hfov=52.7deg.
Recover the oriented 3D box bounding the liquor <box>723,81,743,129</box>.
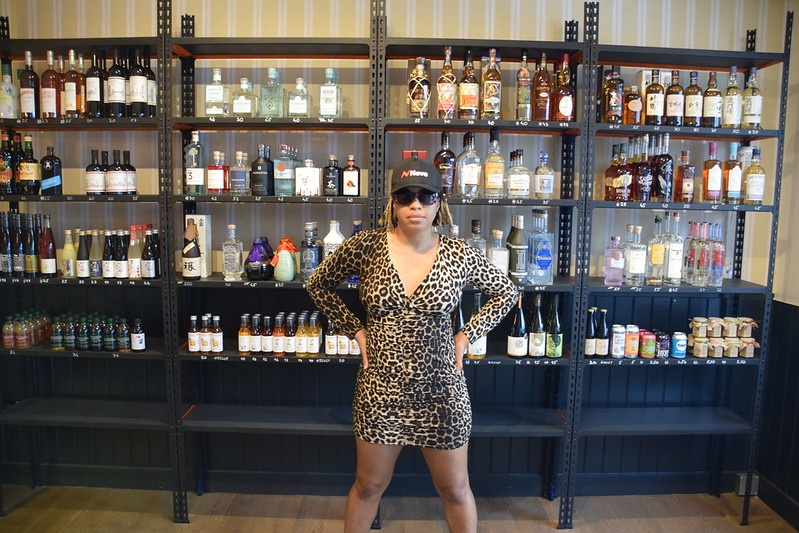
[{"bbox_3d":[2.110,-1.028,5.135,0.095,0.284,0.084,4,9,33],"label":"liquor"}]

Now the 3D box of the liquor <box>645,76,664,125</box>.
[{"bbox_3d":[1.622,-1.078,5.119,0.118,0.338,0.082,0,7,5],"label":"liquor"}]

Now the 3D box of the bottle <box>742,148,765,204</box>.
[{"bbox_3d":[2.286,-0.584,5.199,0.109,0.360,0.124,0,7,7],"label":"bottle"}]

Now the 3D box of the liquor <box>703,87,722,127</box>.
[{"bbox_3d":[1.979,-1.013,5.119,0.103,0.248,0.058,3,8,21],"label":"liquor"}]

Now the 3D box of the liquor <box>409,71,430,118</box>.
[{"bbox_3d":[0.121,-1.105,5.165,0.137,0.301,0.192,-1,8,-2],"label":"liquor"}]

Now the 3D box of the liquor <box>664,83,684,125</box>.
[{"bbox_3d":[1.750,-1.031,5.111,0.118,0.268,0.099,0,7,5],"label":"liquor"}]

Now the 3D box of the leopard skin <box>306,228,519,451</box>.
[{"bbox_3d":[0.074,0.384,4.754,1.436,1.445,0.531,1,5,-3],"label":"leopard skin"}]

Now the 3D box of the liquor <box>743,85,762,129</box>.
[{"bbox_3d":[2.257,-1.022,5.153,0.127,0.275,0.100,0,7,4],"label":"liquor"}]

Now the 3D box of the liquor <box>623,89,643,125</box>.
[{"bbox_3d":[1.497,-1.027,5.129,0.116,0.246,0.154,-1,8,-3],"label":"liquor"}]

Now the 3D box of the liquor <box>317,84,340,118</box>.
[{"bbox_3d":[-0.450,-1.064,5.164,0.128,0.199,0.131,-1,8,-5],"label":"liquor"}]

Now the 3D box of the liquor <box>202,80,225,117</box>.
[{"bbox_3d":[-1.184,-1.096,5.254,0.165,0.245,0.171,7,8,42],"label":"liquor"}]

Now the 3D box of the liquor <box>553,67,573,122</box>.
[{"bbox_3d":[1.058,-1.109,5.159,0.128,0.363,0.130,6,13,33],"label":"liquor"}]

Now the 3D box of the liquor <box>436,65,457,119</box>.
[{"bbox_3d":[0.296,-1.111,5.112,0.111,0.327,0.086,-1,7,-2],"label":"liquor"}]

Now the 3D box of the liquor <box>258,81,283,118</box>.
[{"bbox_3d":[-0.841,-1.082,5.262,0.161,0.231,0.448,-2,8,-9],"label":"liquor"}]

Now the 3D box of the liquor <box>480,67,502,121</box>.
[{"bbox_3d":[0.585,-1.107,5.119,0.107,0.339,0.104,0,7,0],"label":"liquor"}]

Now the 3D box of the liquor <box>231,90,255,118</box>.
[{"bbox_3d":[-1.008,-1.053,5.202,0.137,0.168,0.229,-2,8,-11],"label":"liquor"}]

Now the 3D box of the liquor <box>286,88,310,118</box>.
[{"bbox_3d":[-0.641,-1.079,5.143,0.132,0.235,0.118,-1,8,-8],"label":"liquor"}]

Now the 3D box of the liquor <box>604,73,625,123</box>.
[{"bbox_3d":[1.373,-1.093,5.132,0.125,0.355,0.113,0,7,3],"label":"liquor"}]

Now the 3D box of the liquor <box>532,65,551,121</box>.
[{"bbox_3d":[0.908,-1.117,5.149,0.125,0.378,0.201,1,8,9],"label":"liquor"}]

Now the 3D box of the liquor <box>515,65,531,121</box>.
[{"bbox_3d":[0.801,-1.149,5.189,0.098,0.386,0.105,0,7,6],"label":"liquor"}]

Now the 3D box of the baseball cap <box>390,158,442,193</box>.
[{"bbox_3d":[0.088,-0.506,4.488,0.296,0.222,0.411,2,6,5],"label":"baseball cap"}]

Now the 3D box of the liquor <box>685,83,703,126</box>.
[{"bbox_3d":[1.864,-1.030,5.118,0.111,0.273,0.080,2,8,21],"label":"liquor"}]
